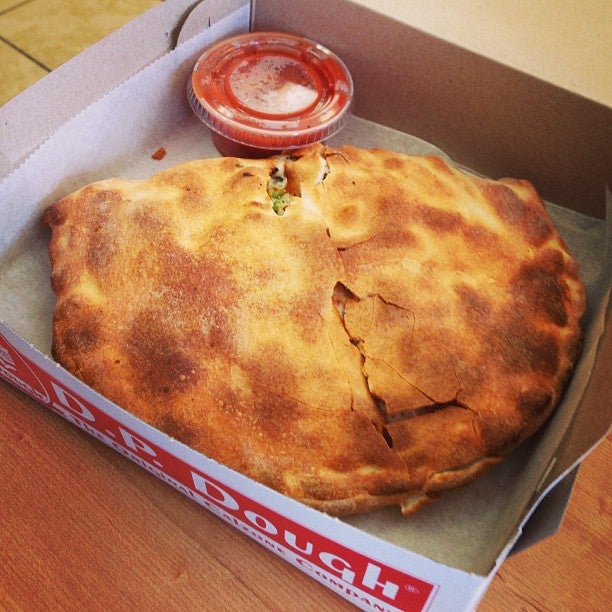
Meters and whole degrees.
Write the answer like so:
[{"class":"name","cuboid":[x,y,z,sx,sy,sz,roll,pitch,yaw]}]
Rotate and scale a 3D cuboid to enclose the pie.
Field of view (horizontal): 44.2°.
[{"class":"pie","cuboid":[0.024,0.007,0.913,0.698,0.179,0.453,-2,50,-10]}]
